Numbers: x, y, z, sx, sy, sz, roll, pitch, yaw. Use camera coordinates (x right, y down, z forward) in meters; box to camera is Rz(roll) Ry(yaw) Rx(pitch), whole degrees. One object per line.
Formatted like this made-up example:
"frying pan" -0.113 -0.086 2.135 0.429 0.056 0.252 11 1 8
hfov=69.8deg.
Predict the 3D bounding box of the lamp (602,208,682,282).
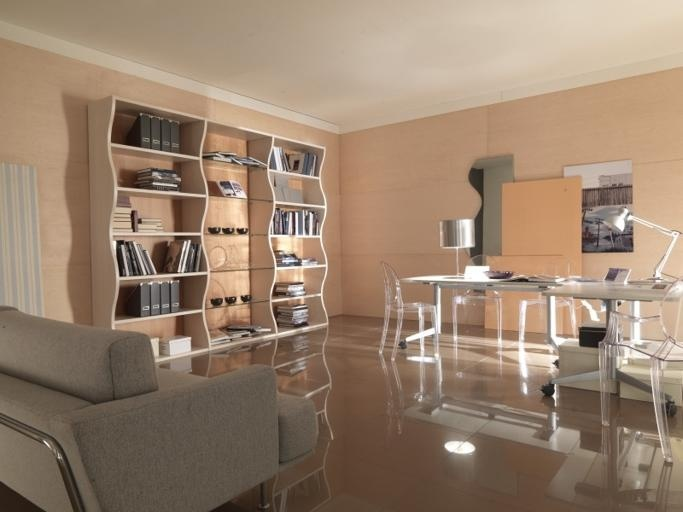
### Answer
"lamp" 3.083 -0.111 4.936 0.564 0.749 1.975 3 6 35

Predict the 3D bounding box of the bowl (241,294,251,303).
"bowl" -1.245 0.549 6.317 0.105 0.060 0.100 0 4 0

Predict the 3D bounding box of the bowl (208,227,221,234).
"bowl" -1.562 -0.305 5.912 0.103 0.045 0.101 -1 -2 0

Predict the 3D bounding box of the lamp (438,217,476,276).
"lamp" 1.493 -0.078 6.209 0.459 0.775 1.872 0 5 12

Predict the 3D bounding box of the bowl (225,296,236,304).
"bowl" -1.401 0.550 6.062 0.105 0.058 0.104 0 -3 0

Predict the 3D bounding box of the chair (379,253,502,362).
"chair" 1.039 0.571 5.876 1.463 0.868 1.255 -3 3 -42
